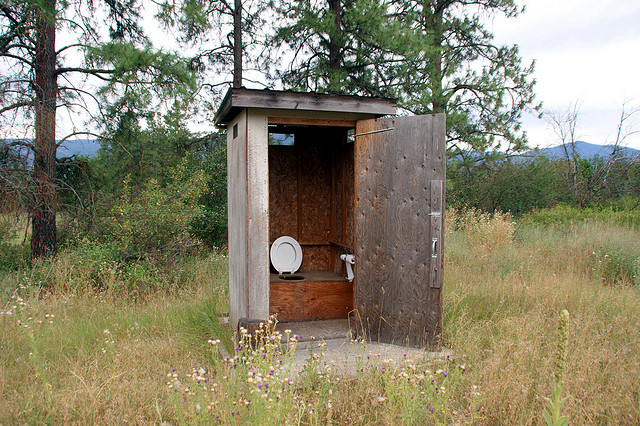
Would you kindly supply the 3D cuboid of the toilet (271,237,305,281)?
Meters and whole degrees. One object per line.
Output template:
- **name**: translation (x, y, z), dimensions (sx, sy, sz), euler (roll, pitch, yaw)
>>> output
- **toilet**: translation (-0.699, 0.928, 10.698), dimensions (0.640, 0.843, 0.497), euler (0, 0, -20)

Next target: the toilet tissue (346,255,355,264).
- **toilet tissue**: translation (0.585, 0.909, 10.047), dimensions (0.124, 0.139, 0.158), euler (-7, -4, -19)
